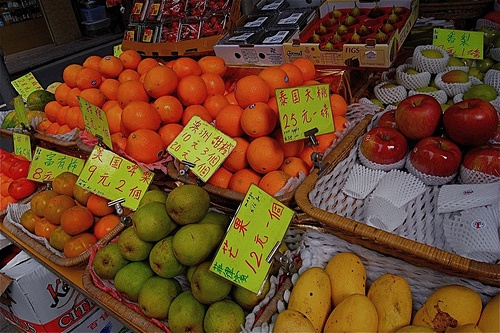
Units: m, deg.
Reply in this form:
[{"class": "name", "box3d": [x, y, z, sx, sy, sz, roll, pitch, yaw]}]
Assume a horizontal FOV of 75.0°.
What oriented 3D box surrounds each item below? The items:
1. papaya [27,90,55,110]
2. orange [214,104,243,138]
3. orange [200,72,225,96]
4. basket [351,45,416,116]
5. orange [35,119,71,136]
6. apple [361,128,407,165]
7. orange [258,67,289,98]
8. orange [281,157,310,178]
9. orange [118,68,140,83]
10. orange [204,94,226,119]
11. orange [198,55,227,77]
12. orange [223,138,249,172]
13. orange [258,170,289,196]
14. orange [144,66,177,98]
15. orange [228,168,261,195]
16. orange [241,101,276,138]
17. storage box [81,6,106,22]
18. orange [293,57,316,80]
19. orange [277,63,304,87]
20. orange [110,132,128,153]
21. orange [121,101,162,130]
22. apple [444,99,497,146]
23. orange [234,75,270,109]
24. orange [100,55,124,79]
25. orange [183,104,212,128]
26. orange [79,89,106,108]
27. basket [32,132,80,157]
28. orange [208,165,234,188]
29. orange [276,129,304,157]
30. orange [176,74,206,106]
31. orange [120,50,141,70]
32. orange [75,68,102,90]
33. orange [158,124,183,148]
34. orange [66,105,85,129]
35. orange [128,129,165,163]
[{"class": "papaya", "box3d": [-1.776, -0.560, 2.770, 0.209, 0.157, 0.160, 0, 54, -32]}, {"class": "orange", "box3d": [-0.147, -0.280, 1.931, 0.159, 0.201, 0.166, -1, 21, -10]}, {"class": "orange", "box3d": [-0.241, -0.539, 2.174, 0.130, 0.164, 0.131, 11, 16, 34]}, {"class": "basket", "box3d": [1.097, -0.663, 2.731, 0.631, 0.559, 0.543, 0, 54, 14]}, {"class": "orange", "box3d": [-1.575, -0.307, 2.557, 0.213, 0.083, 0.209, 18, 11, -42]}, {"class": "apple", "box3d": [0.712, -0.135, 1.760, 0.228, 0.187, 0.195, 11, 22, 37]}, {"class": "orange", "box3d": [0.135, -0.527, 1.985, 0.170, 0.163, 0.163, -1, 26, 4]}, {"class": "orange", "box3d": [0.238, 0.002, 1.745, 0.109, 0.113, 0.106, -32, 25, 3]}, {"class": "orange", "box3d": [-0.914, -0.674, 2.431, 0.162, 0.070, 0.163, -14, 49, -14]}, {"class": "orange", "box3d": [-0.214, -0.382, 2.094, 0.135, 0.164, 0.134, -22, 33, -40]}, {"class": "orange", "box3d": [-0.278, -0.721, 2.334, 0.209, 0.173, 0.169, 2, 1, 28]}, {"class": "orange", "box3d": [-0.073, -0.067, 1.905, 0.167, 0.169, 0.156, -23, 34, -34]}, {"class": "orange", "box3d": [0.114, 0.076, 1.679, 0.118, 0.129, 0.124, -1, 18, -18]}, {"class": "orange", "box3d": [-0.571, -0.525, 2.040, 0.221, 0.163, 0.135, -4, 46, -5]}, {"class": "orange", "box3d": [-0.033, 0.095, 1.790, 0.129, 0.132, 0.132, -26, 17, 21]}, {"class": "orange", "box3d": [0.047, -0.275, 1.859, 0.212, 0.167, 0.212, -3, 30, 3]}, {"class": "storage box", "box3d": [-4.014, -3.941, 8.306, 0.471, 0.308, 0.472, -32, 44, -30]}, {"class": "orange", "box3d": [0.379, -0.645, 2.174, 0.143, 0.181, 0.144, 0, 17, 21]}, {"class": "orange", "box3d": [0.265, -0.561, 2.073, 0.139, 0.174, 0.140, -9, 3, -35]}, {"class": "orange", "box3d": [-0.815, -0.152, 2.062, 0.113, 0.149, 0.120, 2, 5, 17]}, {"class": "orange", "box3d": [-0.657, -0.290, 1.939, 0.230, 0.154, 0.156, -14, 48, -15]}, {"class": "apple", "box3d": [1.097, -0.234, 1.698, 0.226, 0.246, 0.235, -16, 21, 13]}, {"class": "orange", "box3d": [0.033, -0.443, 1.895, 0.191, 0.179, 0.222, 3, 32, 10]}, {"class": "orange", "box3d": [-1.044, -0.755, 2.513, 0.151, 0.159, 0.154, 3, 40, 1]}, {"class": "orange", "box3d": [-0.325, -0.309, 2.013, 0.122, 0.154, 0.123, 2, 20, 15]}, {"class": "orange", "box3d": [-1.085, -0.490, 2.285, 0.137, 0.150, 0.173, 8, 20, 15]}, {"class": "basket", "box3d": [-1.381, -0.162, 2.320, 0.167, 0.096, 0.205, 21, 32, 40]}, {"class": "orange", "box3d": [-0.161, 0.067, 1.839, 0.106, 0.134, 0.110, -5, 36, 5]}, {"class": "orange", "box3d": [0.225, -0.120, 1.904, 0.142, 0.177, 0.148, 19, 39, 23]}, {"class": "orange", "box3d": [-0.362, -0.471, 2.093, 0.167, 0.181, 0.181, -28, 57, -29]}, {"class": "orange", "box3d": [-0.954, -0.851, 2.652, 0.143, 0.151, 0.154, 9, 45, 2]}, {"class": "orange", "box3d": [-1.192, -0.653, 2.429, 0.172, 0.173, 0.162, -19, 58, -37]}, {"class": "orange", "box3d": [-0.480, -0.196, 2.020, 0.127, 0.156, 0.134, -7, 72, 3]}, {"class": "orange", "box3d": [-1.248, -0.347, 2.315, 0.113, 0.144, 0.120, 17, 30, 18]}, {"class": "orange", "box3d": [-0.637, -0.077, 1.934, 0.210, 0.260, 0.218, -1, 1, -3]}]
